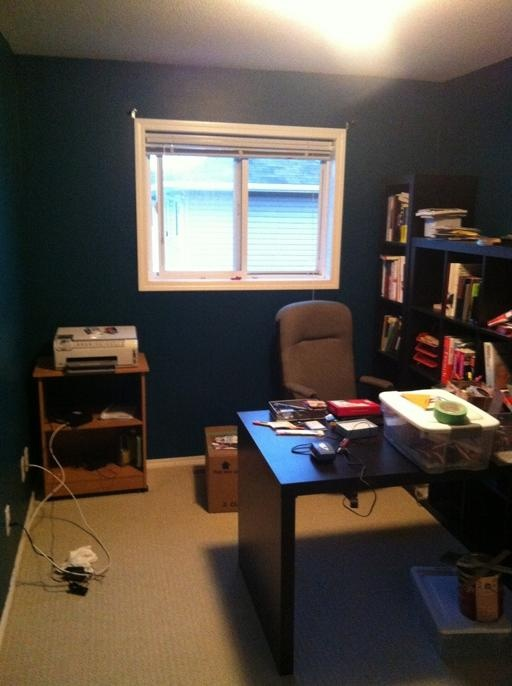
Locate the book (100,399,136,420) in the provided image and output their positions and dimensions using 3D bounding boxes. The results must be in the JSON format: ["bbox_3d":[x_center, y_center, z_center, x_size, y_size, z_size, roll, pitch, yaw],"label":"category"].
[{"bbox_3d":[-0.797,0.396,3.321,0.207,0.060,0.344,-1,10,-11],"label":"book"}]

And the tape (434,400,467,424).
[{"bbox_3d":[0.622,0.223,1.826,0.102,0.048,0.125,6,12,28],"label":"tape"}]

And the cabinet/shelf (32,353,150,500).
[{"bbox_3d":[-0.920,0.461,3.265,0.642,0.768,0.510,-2,11,-16],"label":"cabinet/shelf"}]

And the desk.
[{"bbox_3d":[0.309,0.637,2.306,0.952,0.556,0.900,-1,3,-9],"label":"desk"}]

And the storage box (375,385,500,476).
[{"bbox_3d":[0.597,0.275,1.949,0.244,0.144,0.324,-1,8,-8],"label":"storage box"}]
